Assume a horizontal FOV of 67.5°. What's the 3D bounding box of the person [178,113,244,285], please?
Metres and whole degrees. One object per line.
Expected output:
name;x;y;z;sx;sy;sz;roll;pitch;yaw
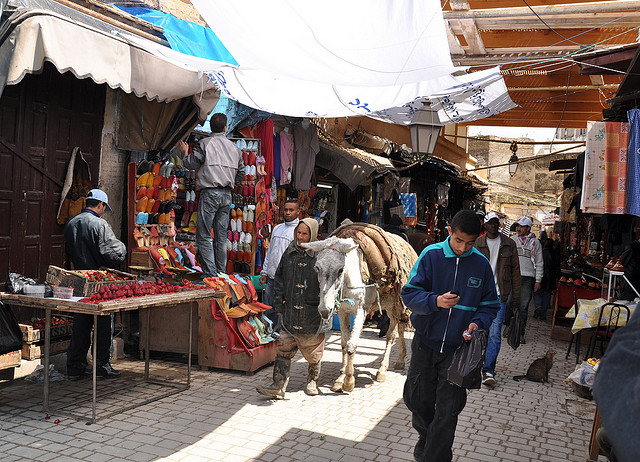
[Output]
person;-1.853;-0.627;8.466;0.503;2.871;1.016;6;4;45

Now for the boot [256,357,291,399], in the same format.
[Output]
boot;-0.612;1.953;6.407;0.447;0.524;0.245;23;-23;-33

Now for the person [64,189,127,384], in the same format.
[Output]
person;-3.232;0.773;6.884;0.775;2.701;0.725;1;3;-29

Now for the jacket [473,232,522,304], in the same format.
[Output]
jacket;3.088;0.655;8.440;0.865;1.533;0.759;5;7;16

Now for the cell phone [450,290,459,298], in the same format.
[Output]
cell phone;1.196;0.568;4.293;0.063;0.054;0.131;4;3;23

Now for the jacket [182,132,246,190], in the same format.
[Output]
jacket;-1.790;-1.191;8.620;0.937;1.029;0.993;11;10;1

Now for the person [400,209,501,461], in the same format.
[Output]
person;1.202;1.085;4.622;0.747;2.563;0.635;5;4;41

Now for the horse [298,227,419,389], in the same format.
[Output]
horse;0.749;1.221;7.586;1.179;2.227;3.401;-4;-6;26

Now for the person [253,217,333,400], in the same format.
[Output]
person;-0.339;1.068;6.505;0.895;2.454;0.705;3;3;1

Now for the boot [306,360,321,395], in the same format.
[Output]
boot;-0.098;2.085;6.747;0.185;0.431;0.425;10;9;-3

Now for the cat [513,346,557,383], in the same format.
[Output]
cat;3.538;2.289;7.927;0.789;0.526;0.234;-12;-2;-2

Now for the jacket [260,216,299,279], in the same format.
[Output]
jacket;-0.764;0.324;8.602;0.407;0.579;1.434;2;10;8

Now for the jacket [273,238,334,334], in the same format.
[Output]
jacket;-0.245;0.759;6.453;0.847;1.216;0.364;5;4;32
